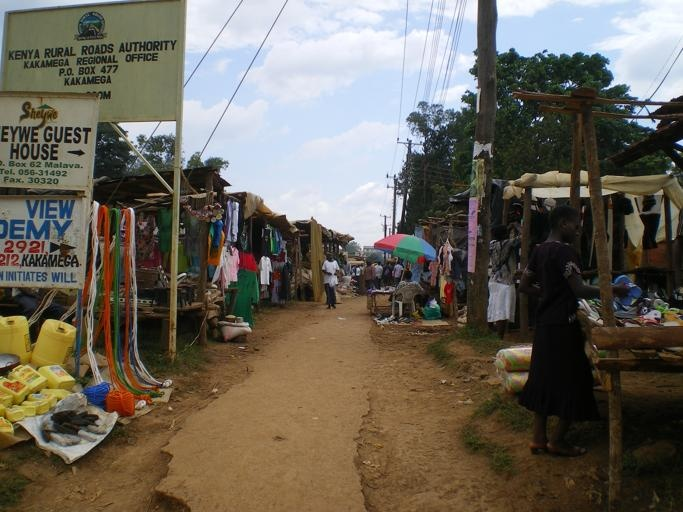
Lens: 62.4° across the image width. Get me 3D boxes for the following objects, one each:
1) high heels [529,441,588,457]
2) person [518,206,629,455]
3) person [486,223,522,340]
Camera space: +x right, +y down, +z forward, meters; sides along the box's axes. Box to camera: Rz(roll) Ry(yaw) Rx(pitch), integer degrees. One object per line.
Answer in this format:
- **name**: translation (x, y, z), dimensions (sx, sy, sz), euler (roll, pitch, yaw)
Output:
- **high heels**: translation (2.317, 2.056, 5.982), dimensions (0.512, 0.165, 0.198), euler (-5, -9, 12)
- **person**: translation (2.343, 0.813, 6.028), dimensions (0.803, 2.621, 0.675), euler (2, 9, 24)
- **person**: translation (2.949, 0.472, 10.195), dimensions (0.548, 2.077, 0.633), euler (1, 9, 17)
